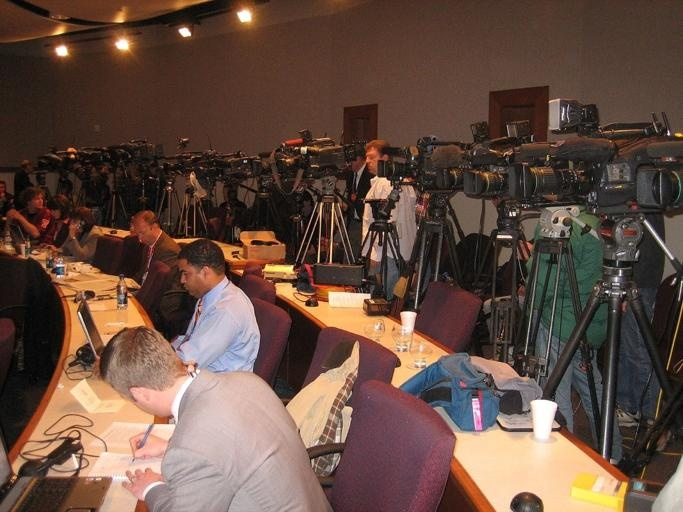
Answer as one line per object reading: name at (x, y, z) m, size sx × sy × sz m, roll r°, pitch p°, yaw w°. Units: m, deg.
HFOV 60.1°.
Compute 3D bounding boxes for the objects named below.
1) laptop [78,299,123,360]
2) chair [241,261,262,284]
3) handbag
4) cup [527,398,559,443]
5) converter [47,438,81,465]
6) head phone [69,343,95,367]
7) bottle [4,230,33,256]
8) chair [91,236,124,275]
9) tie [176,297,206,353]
laptop at (-1.409, 0.406, 3.275) m, size 0.157 × 0.163 × 0.221 m, roll -16°, pitch 12°, yaw -13°
chair at (-0.728, 0.069, 4.496) m, size 0.143 × 0.265 × 0.284 m, roll 7°, pitch -5°, yaw -8°
handbag at (0.581, 0.586, 2.547) m, size 0.347 × 0.169 × 0.432 m, roll -4°, pitch 7°, yaw -37°
cup at (0.830, 0.663, 2.407) m, size 0.141 × 0.168 × 0.145 m, roll 1°, pitch -3°, yaw 0°
converter at (-1.139, 0.767, 2.319) m, size 0.044 × 0.050 × 0.135 m, roll 13°, pitch 24°, yaw 11°
head phone at (-1.407, 0.501, 3.076) m, size 0.108 × 0.040 × 0.111 m, roll 12°, pitch 16°, yaw 22°
bottle at (-3.965, -0.160, 6.913) m, size 0.254 × 0.263 × 0.355 m, roll -3°, pitch 9°, yaw -44°
chair at (-2.678, 0.000, 6.440) m, size 0.318 × 0.485 × 0.272 m, roll 11°, pitch 6°, yaw 26°
tie at (-0.988, 0.411, 3.617) m, size 0.115 × 0.349 × 0.243 m, roll 8°, pitch 9°, yaw 24°
